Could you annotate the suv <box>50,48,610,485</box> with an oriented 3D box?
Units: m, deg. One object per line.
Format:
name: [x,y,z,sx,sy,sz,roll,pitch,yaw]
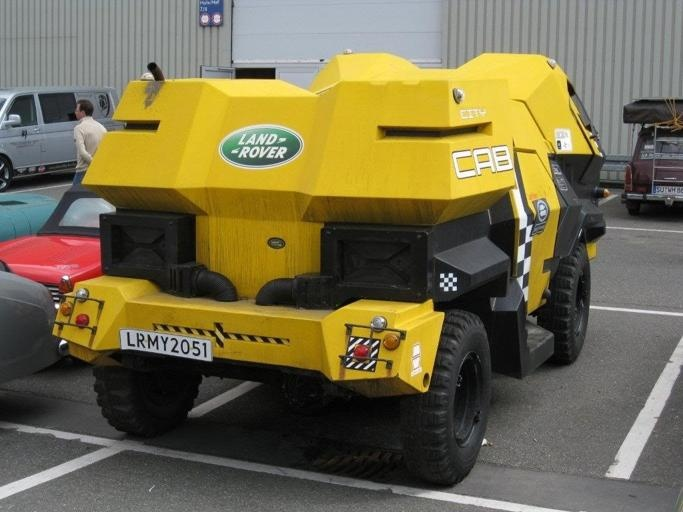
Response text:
suv: [-0.110,-0.163,6.000,2.754,2.939,4.879,4,6,17]
